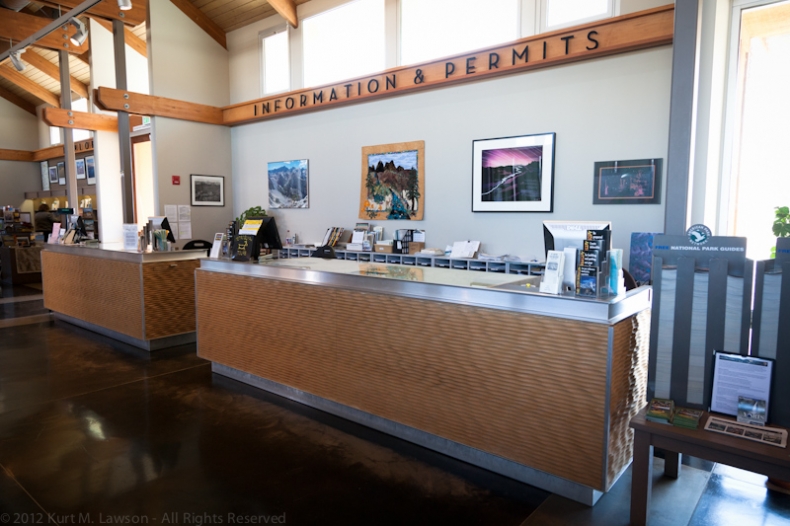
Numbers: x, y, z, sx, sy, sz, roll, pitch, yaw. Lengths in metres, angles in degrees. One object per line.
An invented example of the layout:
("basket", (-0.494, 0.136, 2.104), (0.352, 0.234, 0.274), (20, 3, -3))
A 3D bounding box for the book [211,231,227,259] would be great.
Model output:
("book", (-2.149, -0.218, 6.254), (0.204, 0.273, 0.517), (-1, 7, -18))

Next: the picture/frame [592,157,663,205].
("picture/frame", (2.989, -1.061, 6.582), (0.733, 0.457, 0.026), (2, 1, 33))

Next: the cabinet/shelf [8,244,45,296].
("cabinet/shelf", (-8.674, 0.046, 11.985), (0.726, 0.855, 0.989), (-3, 9, -35))

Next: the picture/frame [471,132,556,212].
("picture/frame", (1.724, -1.317, 7.352), (1.363, 1.029, 0.059), (3, 3, 34))

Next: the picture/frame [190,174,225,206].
("picture/frame", (-3.864, -1.501, 10.507), (0.073, 0.585, 0.785), (-3, -2, 43))

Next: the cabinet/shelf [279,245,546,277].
("cabinet/shelf", (0.578, -0.047, 7.754), (3.337, 0.223, 0.322), (5, 8, 29))

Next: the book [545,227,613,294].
("book", (1.506, -0.007, 4.211), (0.194, 0.492, 0.569), (-5, 7, -37))
